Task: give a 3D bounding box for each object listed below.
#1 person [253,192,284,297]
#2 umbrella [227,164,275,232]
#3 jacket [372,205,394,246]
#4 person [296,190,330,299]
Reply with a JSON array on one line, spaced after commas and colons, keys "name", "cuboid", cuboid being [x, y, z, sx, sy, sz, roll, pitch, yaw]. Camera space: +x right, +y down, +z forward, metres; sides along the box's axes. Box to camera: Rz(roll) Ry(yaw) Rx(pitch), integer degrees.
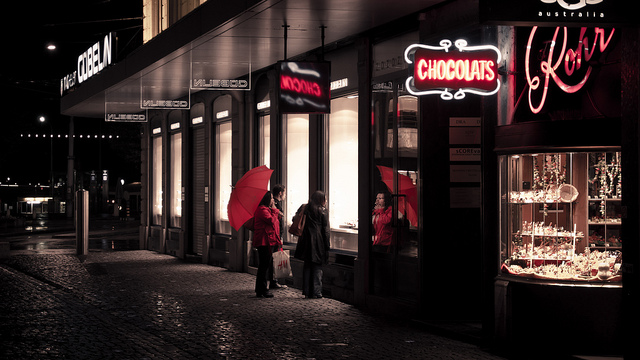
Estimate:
[{"name": "person", "cuboid": [-1.261, 1.573, 13.169, 0.662, 2.520, 0.426, 0, -1, -12]}, {"name": "umbrella", "cuboid": [-1.985, 0.448, 14.401, 0.771, 1.666, 1.772, 36, -29, -22]}, {"name": "jacket", "cuboid": [1.427, 1.005, 11.970, 0.542, 0.886, 0.771, 7, -12, -14]}, {"name": "person", "cuboid": [-0.150, 1.567, 12.910, 0.757, 2.554, 0.376, 0, -1, -1]}]
